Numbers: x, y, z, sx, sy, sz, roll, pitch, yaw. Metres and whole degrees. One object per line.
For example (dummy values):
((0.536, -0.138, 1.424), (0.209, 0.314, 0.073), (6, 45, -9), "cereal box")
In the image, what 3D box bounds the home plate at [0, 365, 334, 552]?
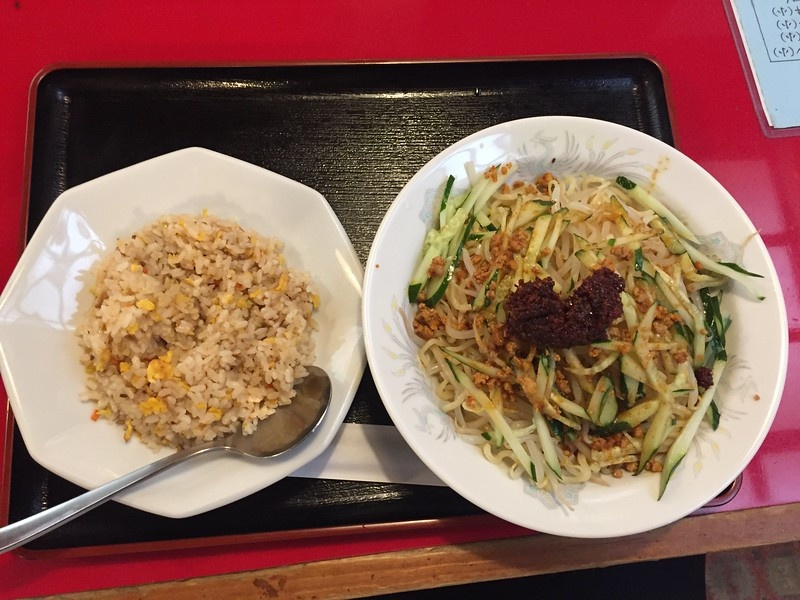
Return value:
((-0.926, 0.627, 2.692), (1.121, 0.162, 0.237), (-27, 45, -14), "home plate")
